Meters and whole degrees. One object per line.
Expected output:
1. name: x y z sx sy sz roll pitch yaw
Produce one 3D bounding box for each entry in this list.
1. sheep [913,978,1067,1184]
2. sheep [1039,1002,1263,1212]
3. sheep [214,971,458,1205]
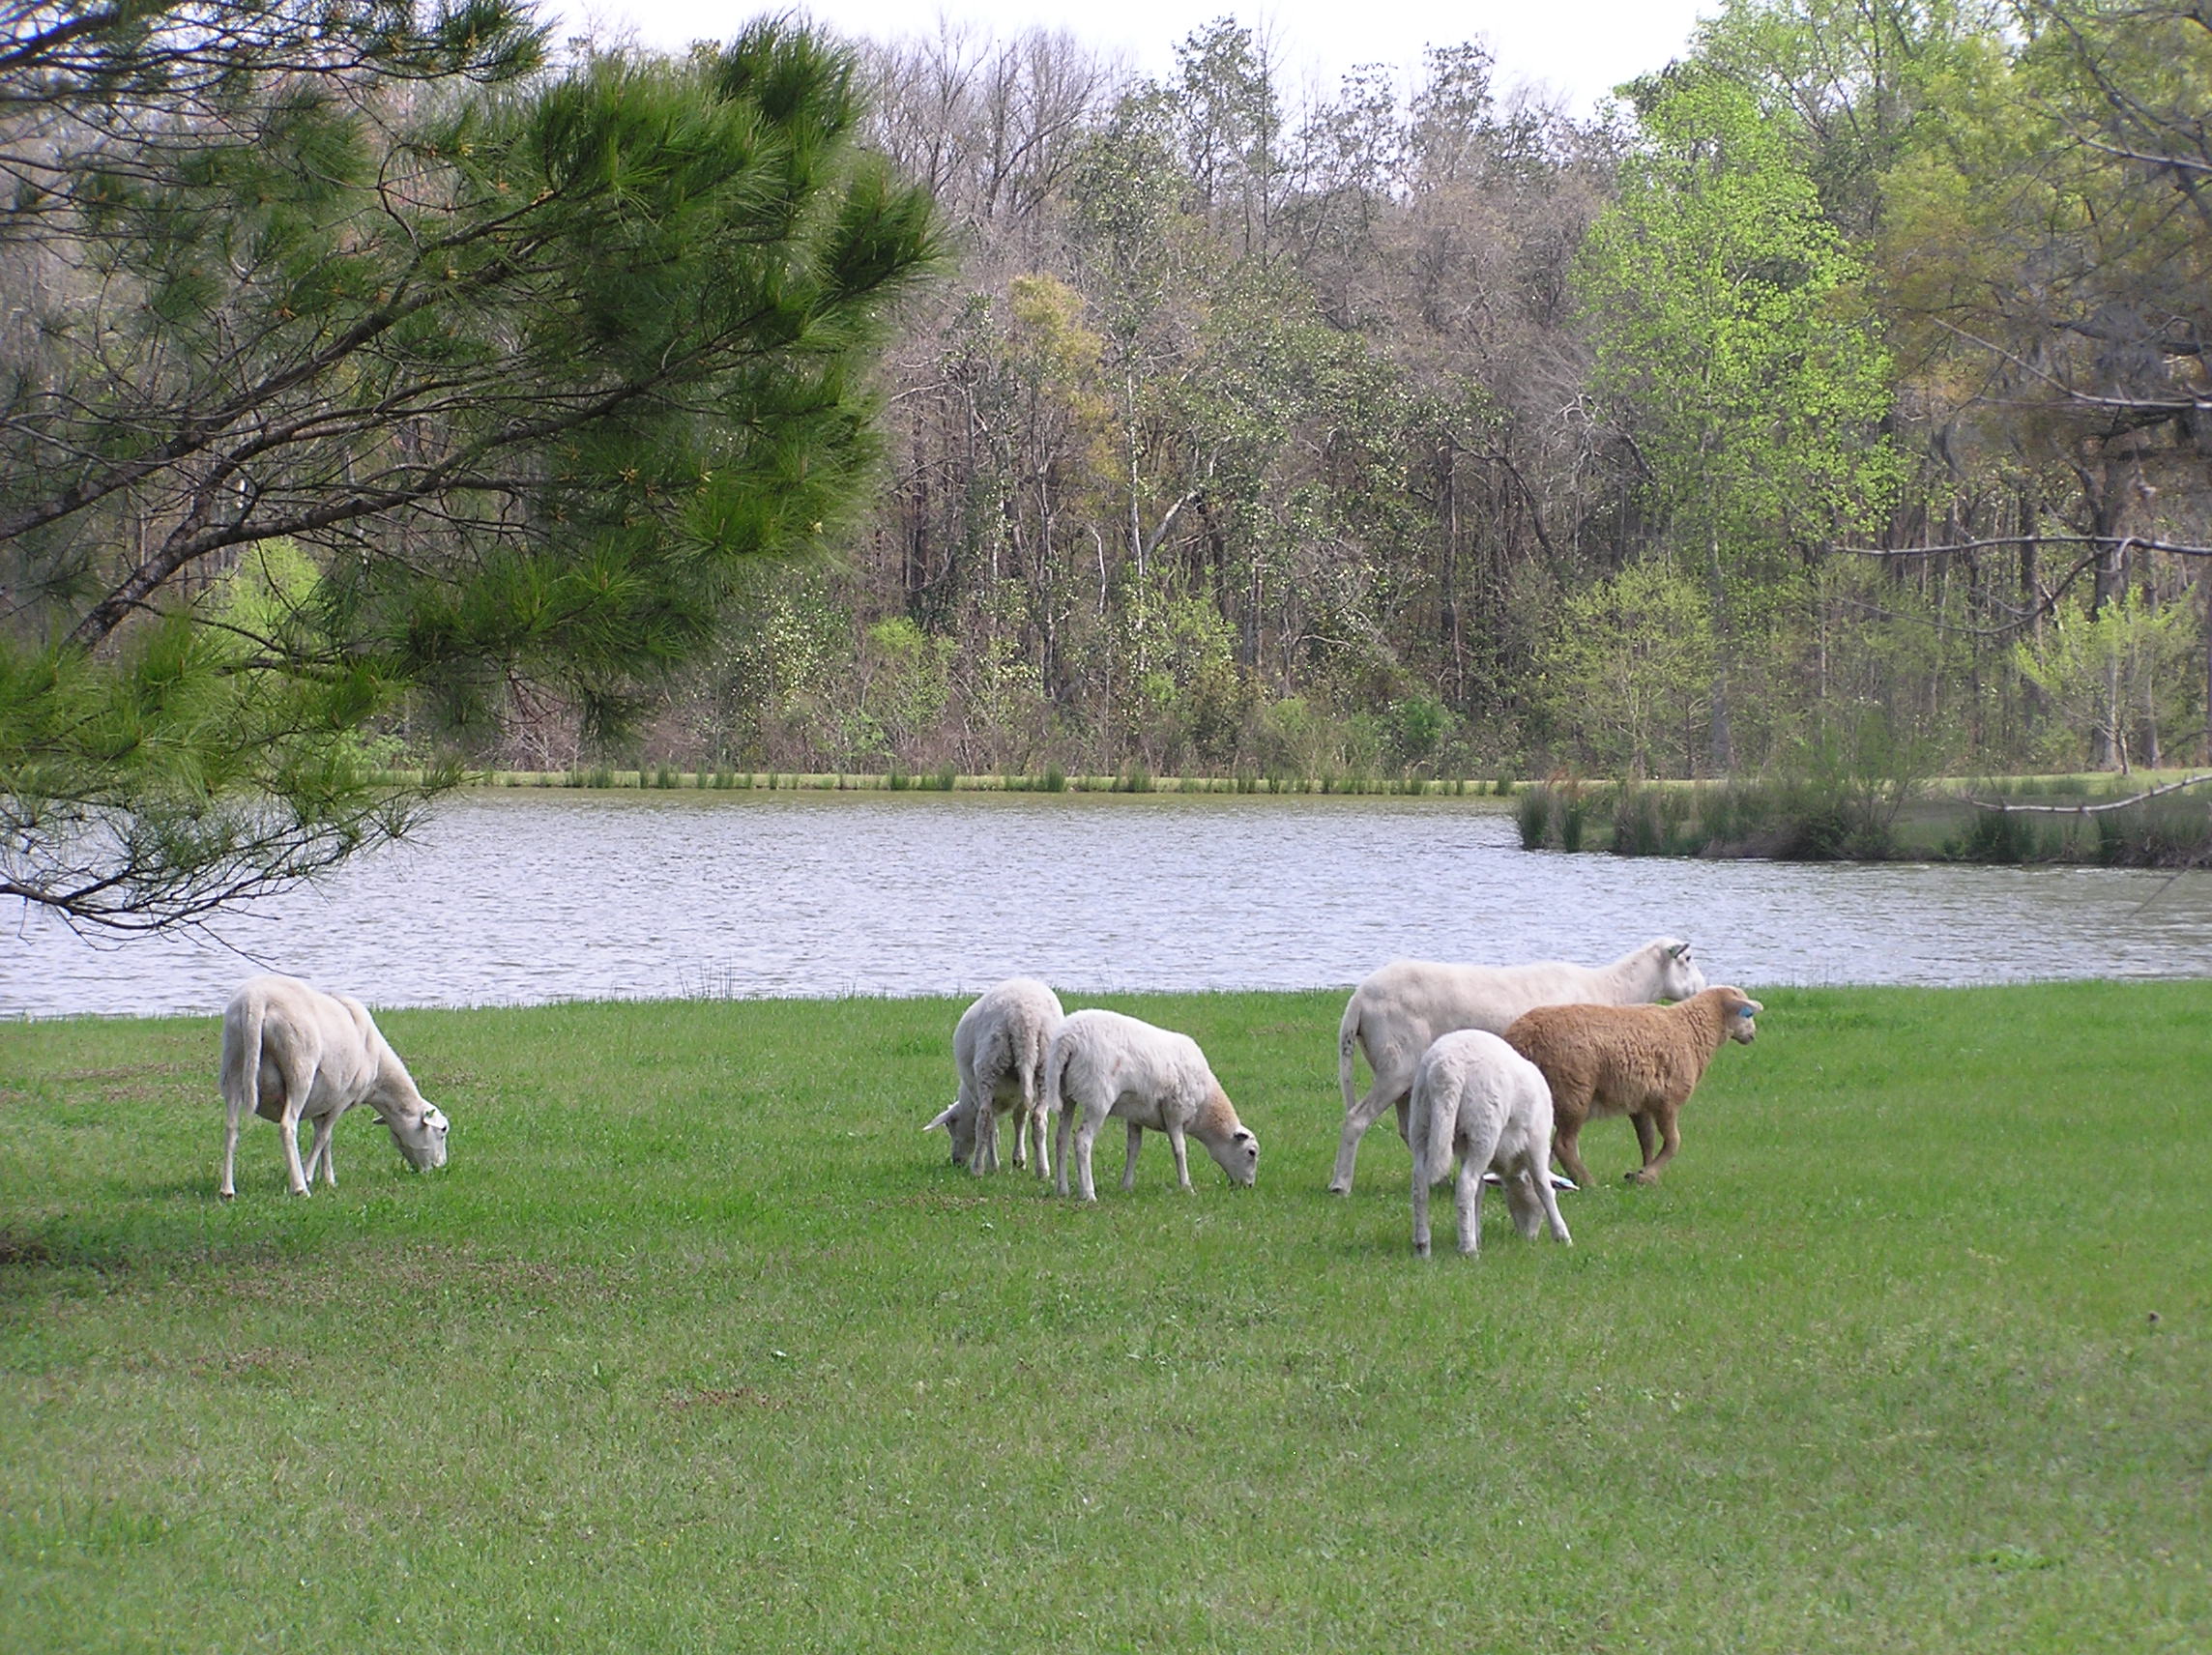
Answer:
1. sheep: -0.960 2.144 37.428 0.697 1.156 2.071 1 -4 -9
2. sheep: 0.419 2.486 37.162 2.043 1.631 0.581 11 0 -28
3. sheep: -6.675 2.401 37.588 0.764 1.828 2.972 -4 -12 24
